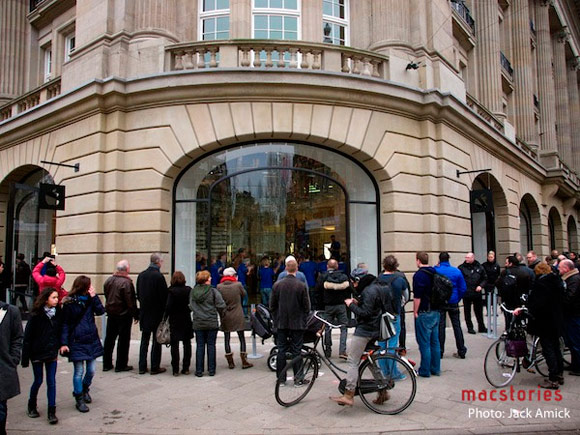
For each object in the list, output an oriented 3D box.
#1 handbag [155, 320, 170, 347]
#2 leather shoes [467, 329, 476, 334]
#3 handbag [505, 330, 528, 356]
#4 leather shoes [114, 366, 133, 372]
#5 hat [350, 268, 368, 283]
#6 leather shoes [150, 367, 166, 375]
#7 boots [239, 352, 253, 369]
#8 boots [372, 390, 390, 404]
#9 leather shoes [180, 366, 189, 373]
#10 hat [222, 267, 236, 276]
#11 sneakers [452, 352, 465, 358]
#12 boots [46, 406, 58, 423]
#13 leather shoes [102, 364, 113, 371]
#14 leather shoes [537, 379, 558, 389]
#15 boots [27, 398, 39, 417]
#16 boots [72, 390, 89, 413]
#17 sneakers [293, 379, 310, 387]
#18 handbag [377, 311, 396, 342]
[{"bbox_3d":[-3.063,2.733,14.422,0.224,0.720,0.513,6,-8,-33],"label":"handbag"},{"bbox_3d":[5.439,3.375,18.111,0.099,0.230,0.219,7,-16,-36],"label":"leather shoes"},{"bbox_3d":[5.163,2.874,13.756,0.541,0.653,0.340,3,-6,-20],"label":"handbag"},{"bbox_3d":[-4.086,3.661,14.761,0.396,0.190,0.151,1,-4,-25],"label":"leather shoes"},{"bbox_3d":[1.545,1.275,13.496,0.447,0.251,0.639,-4,-4,3],"label":"hat"},{"bbox_3d":[-3.227,3.674,14.642,0.127,0.178,0.379,0,1,31],"label":"leather shoes"},{"bbox_3d":[-1.073,3.510,15.022,0.206,0.465,0.444,-2,0,21],"label":"boots"},{"bbox_3d":[1.888,3.751,12.788,0.412,0.324,0.152,-22,-7,43],"label":"boots"},{"bbox_3d":[-2.562,3.660,14.599,0.177,0.199,0.100,-1,-13,-2],"label":"leather shoes"},{"bbox_3d":[-1.580,1.316,15.164,0.209,0.239,0.274,4,-17,-43],"label":"hat"},{"bbox_3d":[4.334,3.515,15.554,0.104,0.121,0.257,1,1,-16],"label":"sneakers"},{"bbox_3d":[-4.921,4.007,12.448,0.195,0.323,0.267,-13,19,-42],"label":"boots"},{"bbox_3d":[-4.504,3.648,14.829,0.097,0.133,0.288,0,-2,12],"label":"leather shoes"},{"bbox_3d":[5.863,3.716,13.764,0.417,0.217,0.175,2,-1,29],"label":"leather shoes"},{"bbox_3d":[-5.417,3.932,12.668,0.227,0.354,0.305,-9,17,-32],"label":"boots"},{"bbox_3d":[-4.456,3.885,12.854,0.206,0.334,0.380,-11,18,-38],"label":"boots"},{"bbox_3d":[0.230,3.499,12.988,0.397,0.212,0.136,0,-3,-18],"label":"sneakers"},{"bbox_3d":[2.021,2.248,12.774,0.405,0.526,0.255,-9,-14,-32],"label":"handbag"}]
